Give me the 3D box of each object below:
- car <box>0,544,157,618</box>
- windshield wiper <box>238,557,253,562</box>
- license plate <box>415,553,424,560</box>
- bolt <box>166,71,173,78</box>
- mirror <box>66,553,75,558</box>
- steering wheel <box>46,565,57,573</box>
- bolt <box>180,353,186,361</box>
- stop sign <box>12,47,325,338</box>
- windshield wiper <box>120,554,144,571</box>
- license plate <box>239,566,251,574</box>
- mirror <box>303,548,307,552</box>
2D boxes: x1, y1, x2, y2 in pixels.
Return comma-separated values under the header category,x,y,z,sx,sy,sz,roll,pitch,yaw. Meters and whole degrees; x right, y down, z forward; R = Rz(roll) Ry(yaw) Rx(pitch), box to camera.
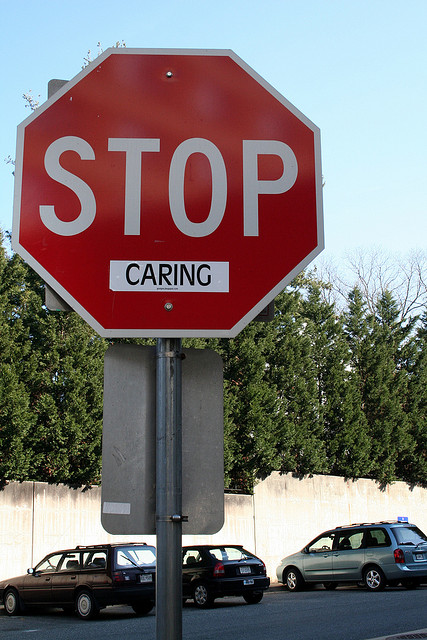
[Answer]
category,x,y,z,sx,sy,sz,roll,pitch,yaw
car,-2.694,4.803,14.470,3.613,1.317,1.415,-5,-11,17
windshield wiper,0.635,4.962,16.257,0.084,0.051,0.504,-7,-12,26
license plate,4.479,5.115,16.986,0.152,0.156,0.016,4,-11,-19
bolt,-0.130,-0.727,2.316,0.017,0.016,0.004,15,12,9
mirror,-2.630,4.359,14.481,0.054,0.054,0.209,7,-14,-40
steering wheel,-3.071,4.674,14.749,0.089,0.121,0.322,7,-14,-39
bolt,-0.083,0.105,2.207,0.012,0.017,0.015,-4,5,1
stop sign,-0.128,-0.355,2.214,0.815,0.818,0.067,0,-19,-5
windshield wiper,-1.461,4.335,13.977,0.446,0.032,0.048,36,-20,-8
license plate,0.648,5.096,16.006,0.158,0.158,0.044,-2,-5,-3
mirror,2.257,5.619,19.179,0.045,0.095,0.239,0,-11,-11
